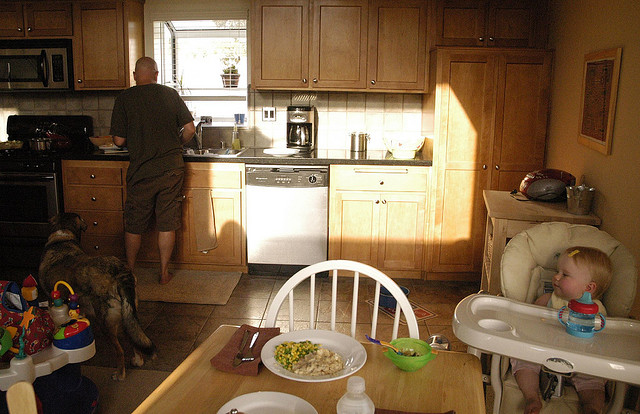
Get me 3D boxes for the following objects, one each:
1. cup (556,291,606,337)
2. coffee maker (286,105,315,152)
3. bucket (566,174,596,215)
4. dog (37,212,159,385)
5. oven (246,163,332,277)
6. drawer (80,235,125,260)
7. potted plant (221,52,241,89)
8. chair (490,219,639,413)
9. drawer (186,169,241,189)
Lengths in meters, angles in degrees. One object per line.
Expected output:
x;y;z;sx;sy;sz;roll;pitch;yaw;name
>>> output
1.267;0.520;2.216;0.218;0.190;0.146;7;0;29;cup
-0.217;-0.847;4.958;0.274;0.486;0.152;-3;12;-10;coffee maker
1.876;-0.089;3.318;0.213;0.321;0.243;4;11;27;bucket
-1.704;0.639;3.415;1.628;0.875;0.482;17;16;39;dog
-0.334;0.091;4.991;1.121;1.516;1.052;0;8;3;oven
-2.136;0.384;4.512;0.309;0.187;0.171;1;5;1;drawer
-1.013;-1.557;5.258;0.248;0.376;0.230;1;11;1;potted plant
1.281;0.518;2.821;0.981;1.128;1.066;2;4;23;chair
-1.052;-0.283;4.525;0.348;0.119;0.235;0;8;1;drawer
